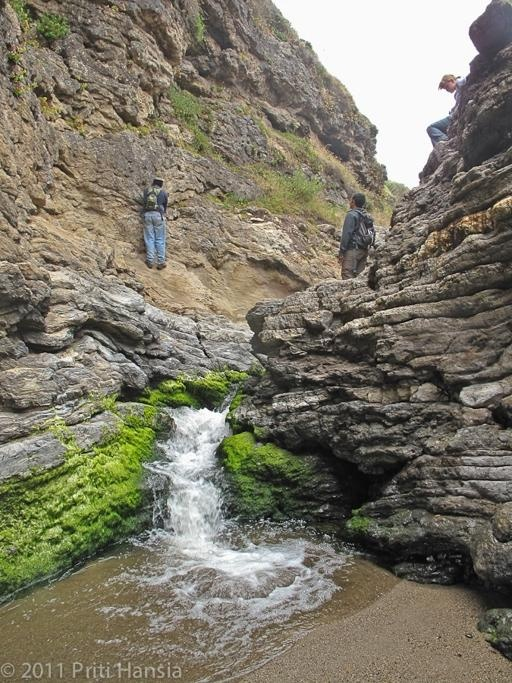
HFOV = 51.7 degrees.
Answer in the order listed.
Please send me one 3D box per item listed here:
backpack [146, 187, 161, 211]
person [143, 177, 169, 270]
[{"bbox_3d":[-2.646,-3.608,13.388,0.418,0.504,0.560,1,12,3],"label":"backpack"},{"bbox_3d":[-2.650,-3.064,13.688,0.576,2.326,0.616,-1,6,17],"label":"person"}]
